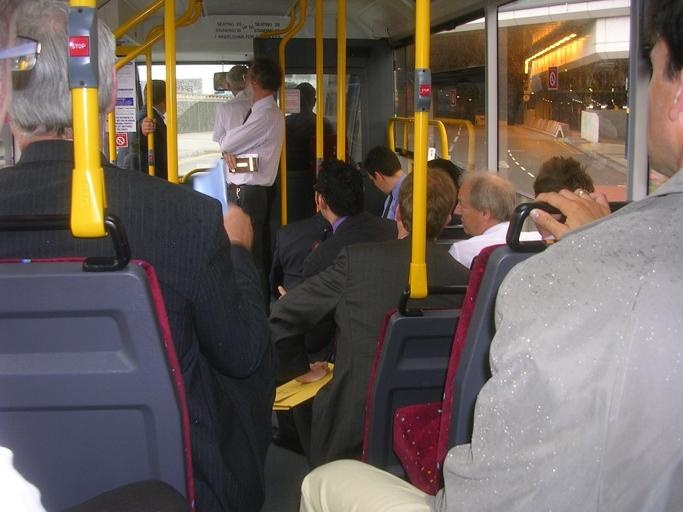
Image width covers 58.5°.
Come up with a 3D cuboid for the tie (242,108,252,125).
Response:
[{"bbox_3d":[-0.936,-1.358,5.995,0.061,0.204,0.127,16,5,-18],"label":"tie"}]
